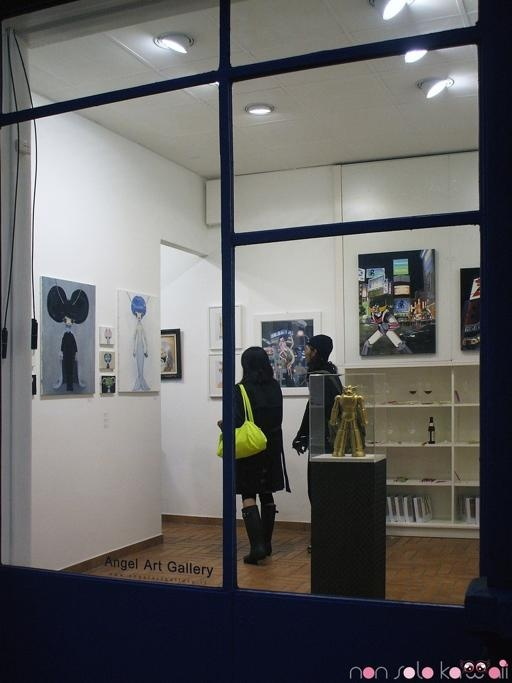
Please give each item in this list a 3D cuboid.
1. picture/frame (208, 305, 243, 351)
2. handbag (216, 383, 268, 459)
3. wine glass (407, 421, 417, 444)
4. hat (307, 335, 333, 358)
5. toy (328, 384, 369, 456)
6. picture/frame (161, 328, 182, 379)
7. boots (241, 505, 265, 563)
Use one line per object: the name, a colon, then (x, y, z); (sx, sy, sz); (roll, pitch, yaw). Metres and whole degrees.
picture/frame: (-0.100, -0.042, 1.729); (0.080, 0.127, 0.012); (-2, 1, -27)
handbag: (-0.030, 0.240, 1.741); (0.046, 0.205, 0.116); (-5, -2, 44)
wine glass: (0.416, 0.250, 1.542); (0.028, 0.079, 0.036); (1, -10, 1)
hat: (0.174, 0.008, 1.573); (0.055, 0.078, 0.047); (21, 26, 40)
toy: (0.273, 0.237, 1.695); (0.094, 0.247, 0.072); (-2, -38, 13)
picture/frame: (-0.278, 0.046, 1.940); (0.010, 0.171, 0.122); (4, -5, -42)
boots: (-0.005, 0.556, 1.669); (0.058, 0.159, 0.110); (-1, 0, -1)
